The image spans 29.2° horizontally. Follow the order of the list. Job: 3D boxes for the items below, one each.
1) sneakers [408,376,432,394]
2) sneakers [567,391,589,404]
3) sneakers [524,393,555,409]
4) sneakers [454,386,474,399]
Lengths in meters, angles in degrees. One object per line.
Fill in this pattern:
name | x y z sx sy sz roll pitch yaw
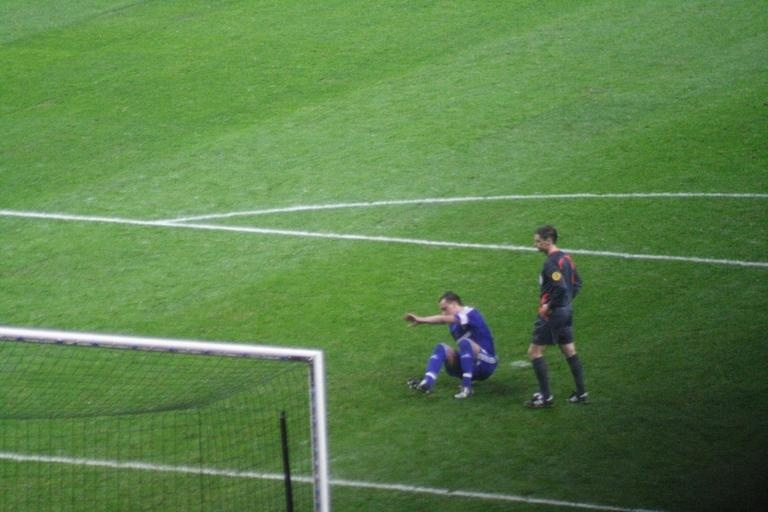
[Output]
sneakers | 0.478 1.797 20.647 0.422 0.157 0.147 24 -15 -29
sneakers | 2.672 1.981 20.641 0.315 0.097 0.128 -2 10 1
sneakers | 2.132 2.018 20.560 0.469 0.157 0.145 0 7 1
sneakers | 1.080 1.910 20.730 0.276 0.094 0.146 -5 7 -37
